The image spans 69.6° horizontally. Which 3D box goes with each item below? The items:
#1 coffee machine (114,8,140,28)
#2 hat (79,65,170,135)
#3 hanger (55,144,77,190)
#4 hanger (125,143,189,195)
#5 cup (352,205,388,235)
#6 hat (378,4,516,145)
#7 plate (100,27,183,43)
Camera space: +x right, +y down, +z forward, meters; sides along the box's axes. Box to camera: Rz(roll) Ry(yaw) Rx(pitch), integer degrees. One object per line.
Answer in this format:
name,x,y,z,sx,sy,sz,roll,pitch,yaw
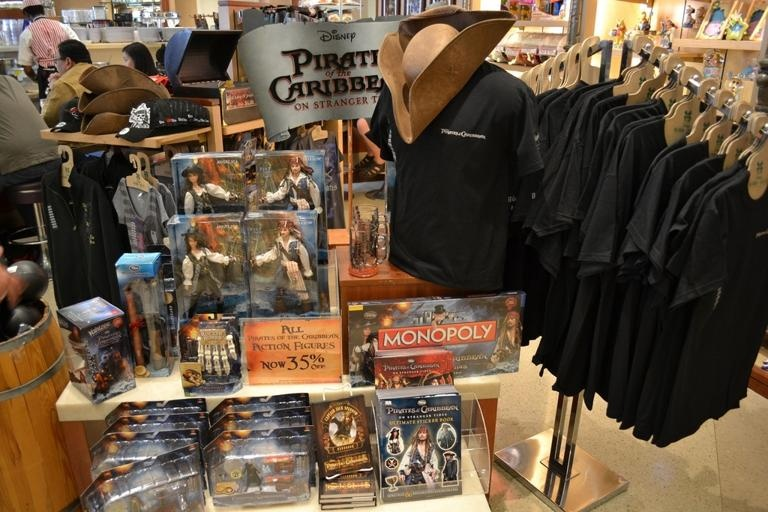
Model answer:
coffee machine,-4.006,-3.683,8.557,0.273,0.198,0.452,-13,24,-23
hat,-1.885,-1.167,4.108,0.629,0.500,0.292,-14,44,-43
hanger,-2.199,-0.624,3.843,0.095,0.294,0.249,-21,28,-39
hanger,-1.392,-0.529,3.363,0.428,0.472,0.064,19,35,29
cup,-0.053,-0.163,2.621,0.185,0.195,0.114,0,19,4
hat,0.212,-0.794,2.410,0.617,0.539,0.333,15,28,37
plate,-3.635,-3.318,8.237,1.013,0.251,0.403,-17,26,-30
